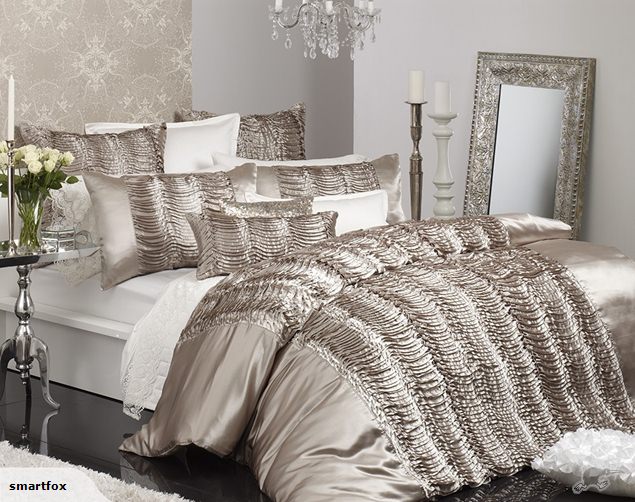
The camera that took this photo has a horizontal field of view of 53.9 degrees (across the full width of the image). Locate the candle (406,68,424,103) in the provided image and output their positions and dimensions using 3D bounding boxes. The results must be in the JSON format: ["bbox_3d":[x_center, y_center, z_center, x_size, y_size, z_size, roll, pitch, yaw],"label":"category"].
[{"bbox_3d":[0.584,-0.988,3.779,0.085,0.194,0.074,1,11,20],"label":"candle"}]
